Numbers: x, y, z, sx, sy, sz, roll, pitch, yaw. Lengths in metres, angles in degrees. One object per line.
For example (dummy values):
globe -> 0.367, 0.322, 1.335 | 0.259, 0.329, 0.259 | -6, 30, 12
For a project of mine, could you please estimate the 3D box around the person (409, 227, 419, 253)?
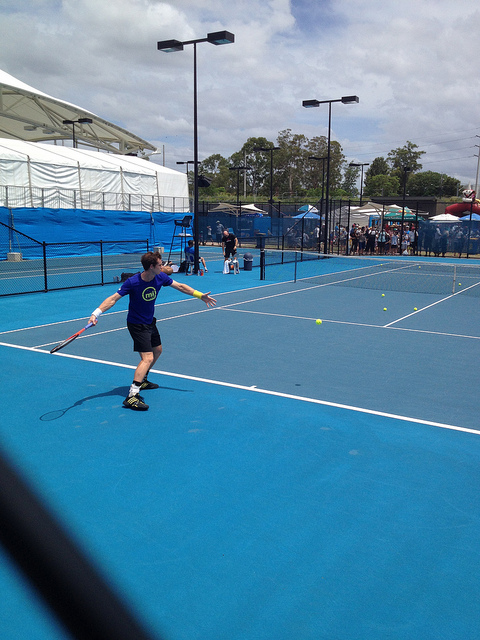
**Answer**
person -> 12.102, -5.481, 34.618 | 0.543, 1.602, 1.238 | 4, 10, 20

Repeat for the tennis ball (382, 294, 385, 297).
tennis ball -> 4.583, -0.779, 15.802 | 0.078, 0.046, 0.079 | 0, 11, 0

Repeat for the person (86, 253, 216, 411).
person -> -1.217, 0.079, 6.258 | 0.771, 1.828, 1.117 | 5, 11, 26

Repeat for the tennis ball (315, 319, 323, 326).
tennis ball -> 1.822, 0.055, 11.422 | 0.131, 0.089, 0.162 | -2, 6, 5

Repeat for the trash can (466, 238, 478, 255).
trash can -> 16.378, -5.138, 34.709 | 0.553, 1.086, 0.471 | 5, 10, 24

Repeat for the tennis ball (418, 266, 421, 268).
tennis ball -> 9.594, -2.798, 26.475 | 0.124, 0.047, 0.121 | -9, 16, 3

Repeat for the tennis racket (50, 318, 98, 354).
tennis racket -> -3.101, 0.320, 9.274 | 0.308, 0.071, 1.348 | -26, 7, 19

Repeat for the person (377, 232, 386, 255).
person -> 9.857, -5.258, 34.446 | 0.565, 1.493, 2.066 | 3, 9, 16

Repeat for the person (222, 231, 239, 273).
person -> -0.420, -3.124, 20.967 | 0.534, 1.195, 1.255 | 0, 9, -4

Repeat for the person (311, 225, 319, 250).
person -> 5.810, -6.305, 38.303 | 0.413, 1.682, 1.324 | 3, 10, 15
